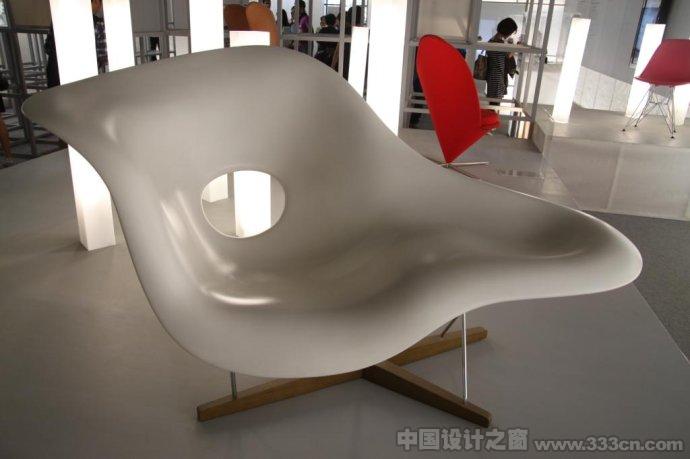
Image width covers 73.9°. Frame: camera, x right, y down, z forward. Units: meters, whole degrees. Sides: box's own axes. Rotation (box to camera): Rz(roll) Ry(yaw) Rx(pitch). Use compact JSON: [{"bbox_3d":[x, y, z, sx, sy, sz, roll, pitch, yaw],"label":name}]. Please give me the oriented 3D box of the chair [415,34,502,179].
[{"bbox_3d":[0.860,-0.976,3.650,0.657,1.067,0.758,-12,23,-24],"label":"chair"}]
